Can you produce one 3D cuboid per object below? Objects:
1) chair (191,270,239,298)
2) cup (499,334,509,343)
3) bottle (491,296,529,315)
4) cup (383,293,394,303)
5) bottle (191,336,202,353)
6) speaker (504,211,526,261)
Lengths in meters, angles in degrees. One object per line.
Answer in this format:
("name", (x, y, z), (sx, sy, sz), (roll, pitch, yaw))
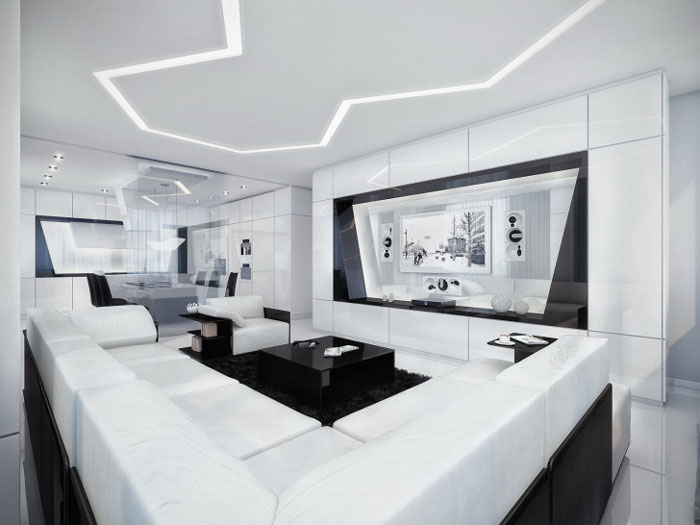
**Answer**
("chair", (-2.273, 0.402, 7.634), (0.584, 0.598, 0.396), (0, -1, 43))
("cup", (1.492, 0.758, 4.378), (0.098, 0.070, 0.073), (-4, 7, -37))
("bottle", (1.921, 0.538, 5.467), (0.182, 0.140, 0.311), (-1, -1, -35))
("cup", (0.582, 0.549, 6.851), (0.093, 0.155, 0.171), (1, 3, -19))
("bottle", (-1.914, 1.050, 5.679), (0.121, 0.225, 0.222), (1, -2, -35))
("speaker", (2.022, -0.307, 5.540), (0.279, 0.609, 0.127), (6, 12, 35))
